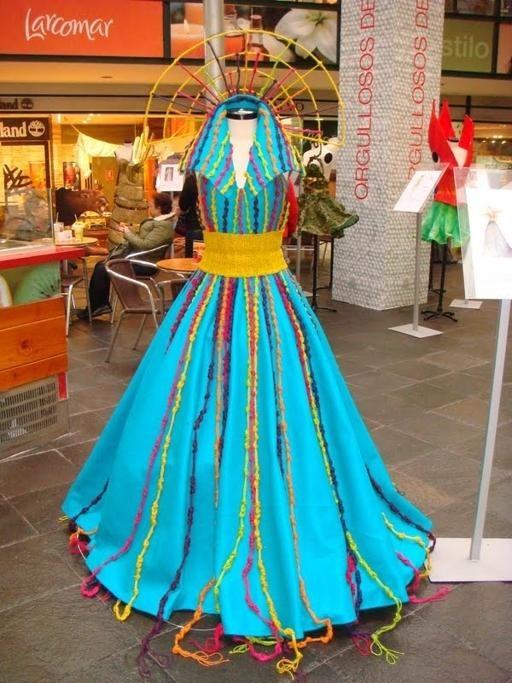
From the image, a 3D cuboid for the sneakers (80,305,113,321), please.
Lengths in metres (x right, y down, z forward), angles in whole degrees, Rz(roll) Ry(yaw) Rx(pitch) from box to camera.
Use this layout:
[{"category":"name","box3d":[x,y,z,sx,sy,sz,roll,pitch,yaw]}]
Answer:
[{"category":"sneakers","box3d":[-1.752,-0.297,5.709,0.309,0.114,0.091,-17,34,-16]}]

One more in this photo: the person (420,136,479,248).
[{"category":"person","box3d":[1.906,-1.657,5.188,0.428,1.454,1.478,3,9,21]}]
